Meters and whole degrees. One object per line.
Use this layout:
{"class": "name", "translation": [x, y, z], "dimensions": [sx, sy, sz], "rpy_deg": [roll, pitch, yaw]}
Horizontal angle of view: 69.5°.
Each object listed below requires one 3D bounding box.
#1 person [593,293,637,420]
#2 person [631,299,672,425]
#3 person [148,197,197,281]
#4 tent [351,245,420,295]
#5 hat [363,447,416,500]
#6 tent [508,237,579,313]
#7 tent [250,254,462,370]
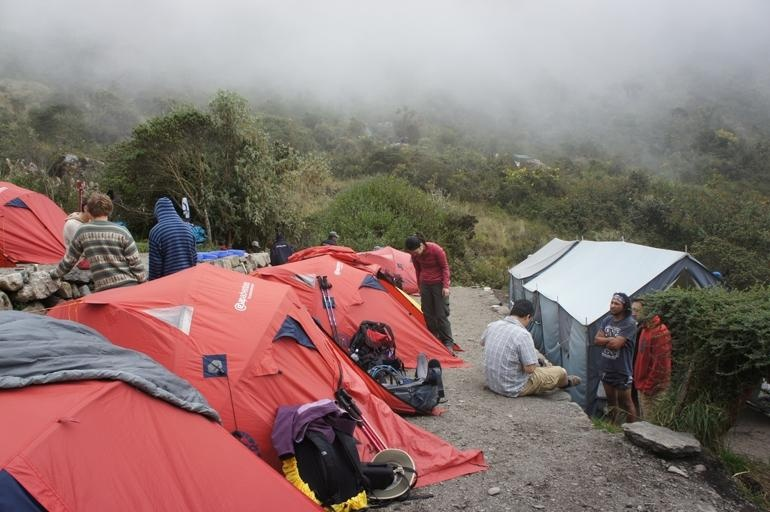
{"class": "person", "translation": [3.789, 1.624, 9.059], "dimensions": [0.623, 2.024, 0.633], "rpy_deg": [3, 12, 20]}
{"class": "person", "translation": [4.035, 1.654, 8.441], "dimensions": [0.429, 2.041, 1.316], "rpy_deg": [3, 12, 20]}
{"class": "person", "translation": [-3.358, -0.069, 8.817], "dimensions": [0.705, 1.842, 0.567], "rpy_deg": [-11, 38, -29]}
{"class": "tent", "translation": [0.294, 0.217, 15.464], "dimensions": [1.360, 0.644, 1.401], "rpy_deg": [8, 15, 14]}
{"class": "hat", "translation": [0.095, 2.602, 6.759], "dimensions": [0.629, 0.507, 0.388], "rpy_deg": [-3, 11, -8]}
{"class": "tent", "translation": [4.404, 0.561, 15.631], "dimensions": [1.977, 1.359, 2.042], "rpy_deg": [0, 12, 20]}
{"class": "tent", "translation": [-0.310, 0.879, 9.669], "dimensions": [2.333, 1.016, 2.377], "rpy_deg": [11, 0, 0]}
